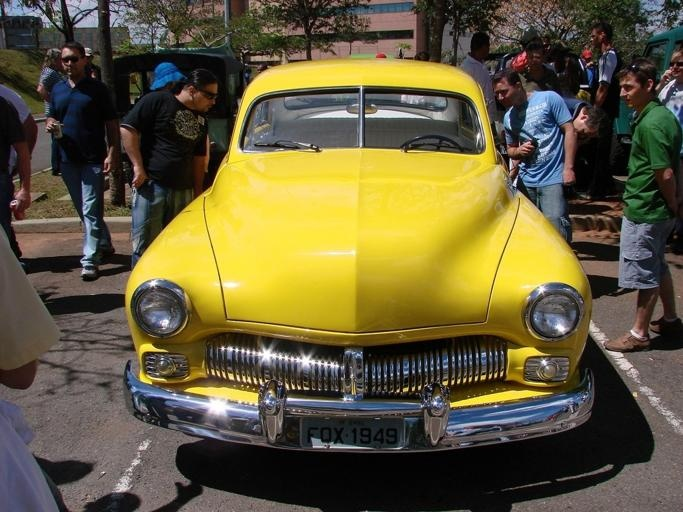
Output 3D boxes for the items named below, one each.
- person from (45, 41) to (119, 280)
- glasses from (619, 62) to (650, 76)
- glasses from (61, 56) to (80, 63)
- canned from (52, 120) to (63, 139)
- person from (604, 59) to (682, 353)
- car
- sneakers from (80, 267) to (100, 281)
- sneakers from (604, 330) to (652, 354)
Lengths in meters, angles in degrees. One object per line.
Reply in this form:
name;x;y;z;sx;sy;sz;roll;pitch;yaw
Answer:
person;-2.873;-1.068;6.761;0.737;2.508;0.992;-6;19;-15
glasses;2.339;-1.465;4.804;0.139;0.040;0.143;-2;-6;15
glasses;-2.958;-2.138;6.574;0.178;0.076;0.067;5;19;17
canned;-3.141;-1.379;6.660;0.113;0.188;0.224;-9;20;-23
person;2.500;-0.220;4.909;0.454;2.024;0.662;13;23;37
car;0.108;-0.319;4.234;2.717;2.011;2.902;0;18;2
sneakers;-2.808;0.176;6.743;0.201;0.154;0.185;-12;21;-31
sneakers;2.399;0.725;5.098;0.352;0.162;0.165;-1;8;6
